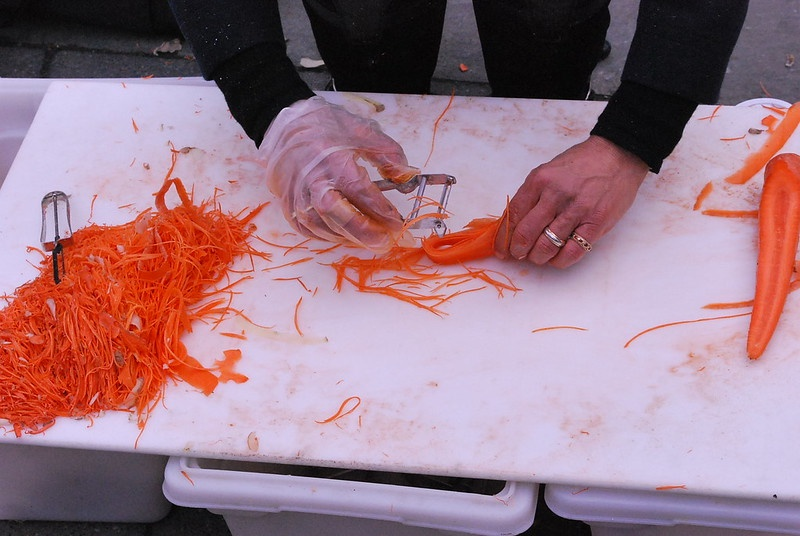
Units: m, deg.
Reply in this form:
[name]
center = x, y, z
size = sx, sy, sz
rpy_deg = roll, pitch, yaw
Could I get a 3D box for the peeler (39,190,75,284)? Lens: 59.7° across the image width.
[peeler]
center = -0.784, -0.076, 1.627
size = 0.078, 0.046, 0.268
rpy_deg = -4, 51, -9

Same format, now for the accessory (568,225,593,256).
[accessory]
center = 0.390, -0.060, 1.507
size = 0.017, 0.050, 0.048
rpy_deg = -55, 38, 2
